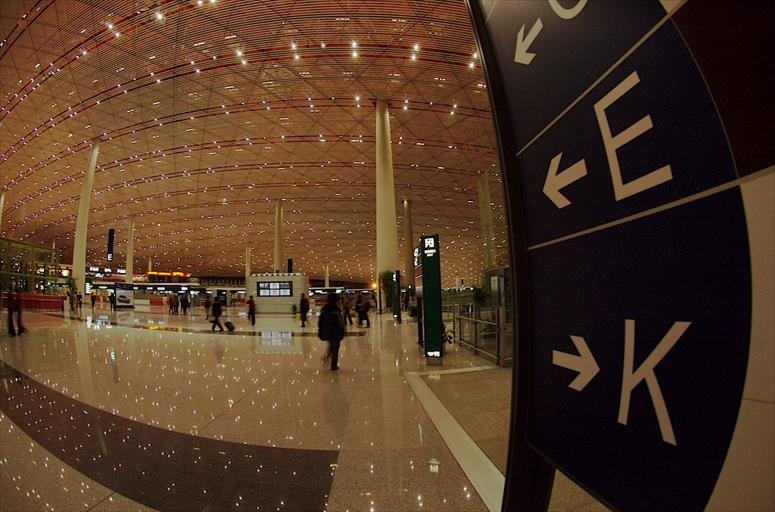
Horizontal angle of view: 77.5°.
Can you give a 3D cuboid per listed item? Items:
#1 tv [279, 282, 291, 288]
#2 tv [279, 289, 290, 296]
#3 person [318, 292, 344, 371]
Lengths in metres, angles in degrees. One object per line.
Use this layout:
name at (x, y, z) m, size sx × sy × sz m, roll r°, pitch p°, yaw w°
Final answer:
tv at (-7.696, 2.244, 36.477) m, size 0.860 × 0.516 × 0.440 m, roll 0°, pitch -11°, yaw -5°
tv at (-7.720, 2.794, 36.347) m, size 0.597 × 0.372 × 0.075 m, roll 0°, pitch -18°, yaw 4°
person at (-0.973, 1.312, 8.521) m, size 0.397 × 1.302 × 1.189 m, roll 1°, pitch -6°, yaw -6°
